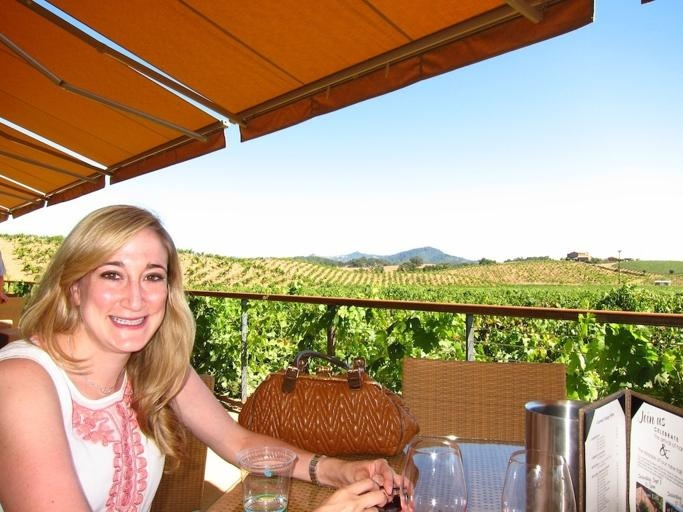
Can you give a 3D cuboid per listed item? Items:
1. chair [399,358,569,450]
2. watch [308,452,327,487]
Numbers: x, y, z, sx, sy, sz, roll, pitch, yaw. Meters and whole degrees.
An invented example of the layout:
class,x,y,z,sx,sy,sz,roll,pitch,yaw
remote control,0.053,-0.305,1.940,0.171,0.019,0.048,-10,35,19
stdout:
class,x,y,z,sx,sy,sz,roll,pitch,yaw
chair,0.572,0.598,2.079,0.422,0.259,0.433,-7,-12,39
watch,-0.079,0.696,1.588,0.022,0.063,0.061,3,12,18
